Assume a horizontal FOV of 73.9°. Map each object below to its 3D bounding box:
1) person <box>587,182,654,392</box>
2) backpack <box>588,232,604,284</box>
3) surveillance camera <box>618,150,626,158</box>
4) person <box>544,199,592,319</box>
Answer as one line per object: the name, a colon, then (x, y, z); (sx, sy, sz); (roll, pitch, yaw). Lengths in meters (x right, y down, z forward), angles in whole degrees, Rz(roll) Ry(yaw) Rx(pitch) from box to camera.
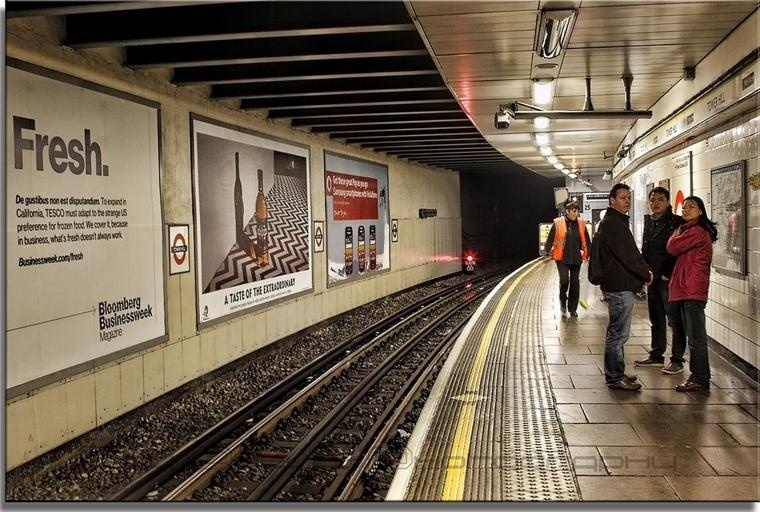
person: (3.035, 0.393, 6.413); (0.713, 2.579, 0.475); (4, 8, 28)
backpack: (2.787, 0.007, 6.458); (0.191, 0.698, 0.217); (2, -1, -9)
surveillance camera: (6.552, -2.788, 13.653); (0.185, 0.217, 0.251); (0, -2, 18)
person: (3.915, 0.053, 10.541); (0.824, 2.405, 0.815); (3, 8, 22)
